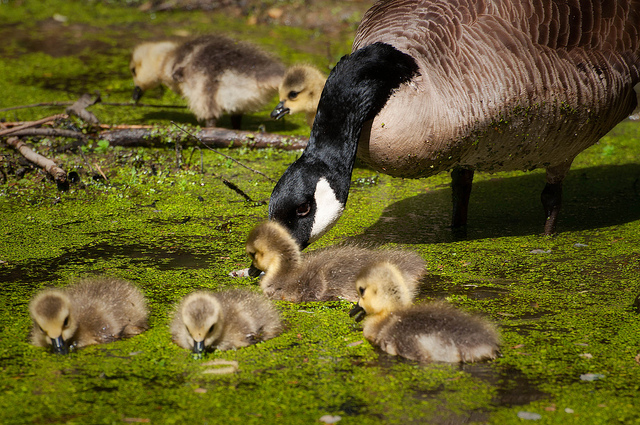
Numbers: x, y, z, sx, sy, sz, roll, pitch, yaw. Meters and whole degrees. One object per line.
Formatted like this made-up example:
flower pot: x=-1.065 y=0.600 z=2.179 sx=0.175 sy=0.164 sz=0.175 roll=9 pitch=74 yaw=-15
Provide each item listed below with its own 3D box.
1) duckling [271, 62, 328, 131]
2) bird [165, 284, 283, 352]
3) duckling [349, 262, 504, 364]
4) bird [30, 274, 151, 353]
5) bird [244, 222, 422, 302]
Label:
duckling: x=-0.252 y=-1.473 z=8.268 sx=0.640 sy=0.658 sz=0.344 roll=2 pitch=16 yaw=-17
bird: x=-0.649 y=0.717 z=4.654 sx=0.692 sy=0.347 sz=0.504 roll=-2 pitch=15 yaw=-27
duckling: x=0.797 y=0.715 z=4.993 sx=1.514 sy=0.599 sz=0.812 roll=6 pitch=11 yaw=8
bird: x=-1.618 y=0.698 z=4.694 sx=0.753 sy=0.339 sz=0.579 roll=-6 pitch=17 yaw=-40
bird: x=-0.068 y=0.393 z=5.146 sx=1.731 sy=0.523 sz=0.496 roll=-3 pitch=-24 yaw=-9
